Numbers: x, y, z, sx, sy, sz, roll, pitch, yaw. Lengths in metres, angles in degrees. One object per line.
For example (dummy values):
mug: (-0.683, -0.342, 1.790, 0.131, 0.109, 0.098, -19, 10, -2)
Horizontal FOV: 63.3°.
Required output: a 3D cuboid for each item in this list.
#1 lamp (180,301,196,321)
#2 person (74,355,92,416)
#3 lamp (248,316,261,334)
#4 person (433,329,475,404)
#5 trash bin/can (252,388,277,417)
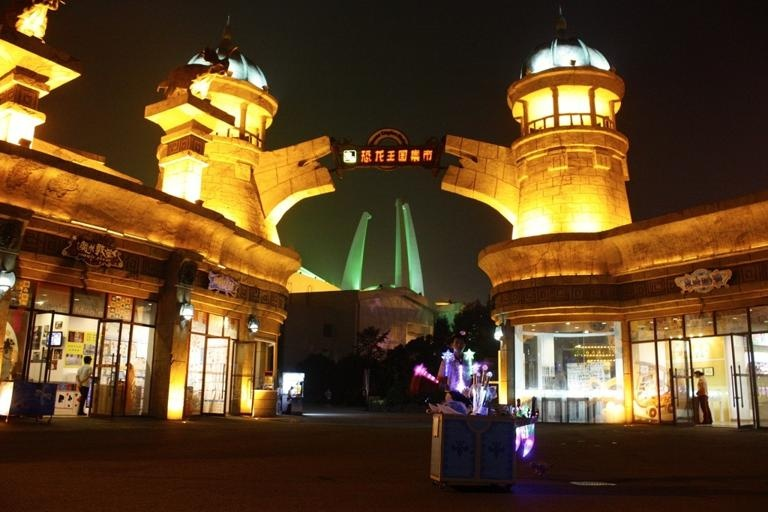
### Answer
lamp: (-6.405, 1.826, 20.409, 0.534, 0.592, 0.522, 1, -3, -20)
person: (-9.177, 3.948, 18.967, 0.413, 1.772, 1.239, 8, -19, -24)
lamp: (-5.197, 2.743, 24.551, 0.634, 0.711, 0.592, 7, -33, -18)
person: (1.392, 2.358, 11.620, 0.813, 1.650, 0.527, 1, -29, 0)
trash bin/can: (-4.665, 5.748, 24.351, 0.930, 1.052, 0.635, 6, -18, -19)
